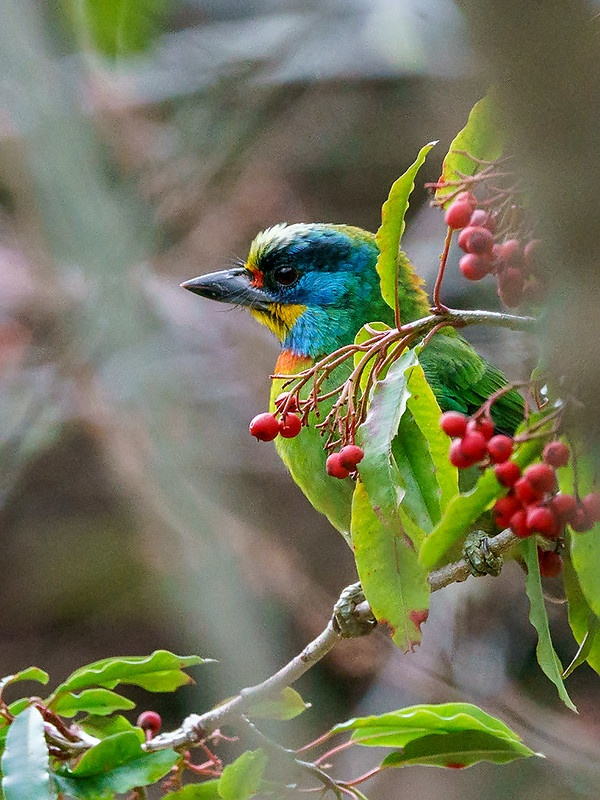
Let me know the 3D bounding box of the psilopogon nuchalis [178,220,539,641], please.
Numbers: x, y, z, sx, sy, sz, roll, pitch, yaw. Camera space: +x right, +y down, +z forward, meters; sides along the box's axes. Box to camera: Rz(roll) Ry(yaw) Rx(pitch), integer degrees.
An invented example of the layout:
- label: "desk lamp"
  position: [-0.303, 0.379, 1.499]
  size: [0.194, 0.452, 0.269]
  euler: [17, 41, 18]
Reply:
- label: "psilopogon nuchalis"
  position: [0.245, 0.034, 3.668]
  size: [1.196, 1.180, 0.687]
  euler: [-13, 10, -25]
